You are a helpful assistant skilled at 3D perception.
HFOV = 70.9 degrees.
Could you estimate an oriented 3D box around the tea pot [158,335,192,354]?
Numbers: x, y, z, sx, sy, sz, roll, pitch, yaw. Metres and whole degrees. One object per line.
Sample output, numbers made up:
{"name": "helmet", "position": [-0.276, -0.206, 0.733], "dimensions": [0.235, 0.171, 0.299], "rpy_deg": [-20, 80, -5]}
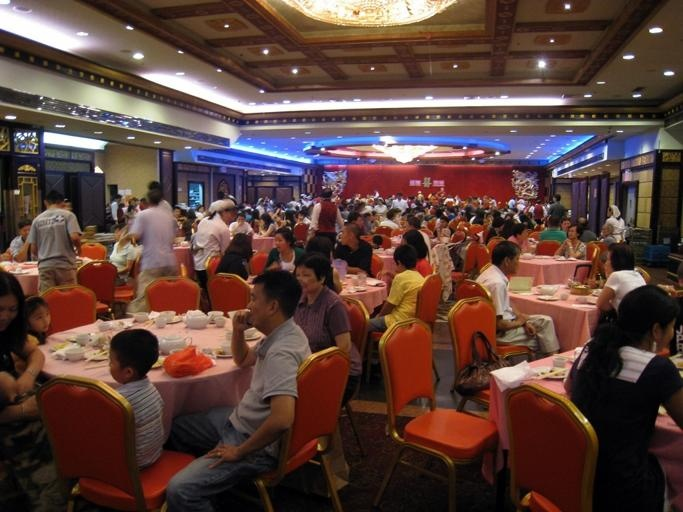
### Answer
{"name": "tea pot", "position": [-0.970, 0.519, 2.862], "dimensions": [0.111, 0.062, 0.139], "rpy_deg": [-2, -8, 38]}

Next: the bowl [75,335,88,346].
{"name": "bowl", "position": [-1.589, 0.516, 2.970], "dimensions": [0.062, 0.045, 0.061], "rpy_deg": [0, -4, 0]}

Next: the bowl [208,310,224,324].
{"name": "bowl", "position": [-0.878, 0.422, 3.379], "dimensions": [0.097, 0.065, 0.097], "rpy_deg": [0, -4, 0]}

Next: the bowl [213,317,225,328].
{"name": "bowl", "position": [-0.832, 0.448, 3.303], "dimensions": [0.067, 0.051, 0.068], "rpy_deg": [2, 8, 0]}

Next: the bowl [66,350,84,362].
{"name": "bowl", "position": [-1.490, 0.546, 2.708], "dimensions": [0.075, 0.052, 0.075], "rpy_deg": [1, -5, 0]}

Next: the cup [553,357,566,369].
{"name": "cup", "position": [1.230, 0.590, 2.685], "dimensions": [0.045, 0.042, 0.057], "rpy_deg": [6, 16, 20]}

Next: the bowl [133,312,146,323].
{"name": "bowl", "position": [-1.380, 0.427, 3.333], "dimensions": [0.058, 0.040, 0.088], "rpy_deg": [-1, -6, 0]}
